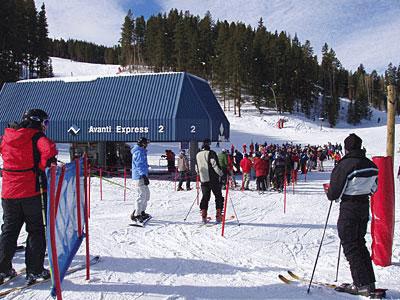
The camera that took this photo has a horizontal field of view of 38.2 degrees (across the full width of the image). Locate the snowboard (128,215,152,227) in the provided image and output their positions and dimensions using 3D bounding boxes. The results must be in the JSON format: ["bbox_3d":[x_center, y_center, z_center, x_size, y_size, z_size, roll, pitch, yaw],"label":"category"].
[{"bbox_3d":[-2.124,2.545,19.842,0.610,0.325,0.224,5,-6,5],"label":"snowboard"}]

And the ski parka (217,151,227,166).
[{"bbox_3d":[0.977,0.427,24.895,0.261,0.604,0.469,-12,13,-37],"label":"ski parka"}]

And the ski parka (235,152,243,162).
[{"bbox_3d":[2.194,0.418,32.142,0.387,0.938,0.424,0,1,27],"label":"ski parka"}]

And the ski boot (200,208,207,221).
[{"bbox_3d":[0.154,2.293,20.179,0.172,0.459,0.163,-1,2,-4],"label":"ski boot"}]

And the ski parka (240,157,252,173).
[{"bbox_3d":[2.207,0.741,27.628,0.697,0.919,0.411,7,9,44],"label":"ski parka"}]

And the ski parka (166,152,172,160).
[{"bbox_3d":[-1.655,0.393,31.667,0.292,0.487,0.240,2,20,24],"label":"ski parka"}]

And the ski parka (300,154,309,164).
[{"bbox_3d":[6.365,0.625,35.112,0.459,0.530,0.255,23,25,39],"label":"ski parka"}]

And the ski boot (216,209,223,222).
[{"bbox_3d":[0.676,2.342,20.251,0.268,0.570,0.311,0,-8,1],"label":"ski boot"}]

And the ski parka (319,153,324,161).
[{"bbox_3d":[7.677,0.509,36.484,0.216,0.500,0.546,0,2,10],"label":"ski parka"}]

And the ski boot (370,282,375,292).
[{"bbox_3d":[4.659,3.735,15.548,0.137,0.242,0.114,0,2,2],"label":"ski boot"}]

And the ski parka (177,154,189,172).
[{"bbox_3d":[-0.848,0.626,27.262,0.475,0.990,0.753,-3,2,-25],"label":"ski parka"}]

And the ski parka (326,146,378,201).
[{"bbox_3d":[4.176,0.710,15.758,1.367,1.388,0.343,-1,1,-9],"label":"ski parka"}]

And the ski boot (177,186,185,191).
[{"bbox_3d":[-0.905,1.861,27.512,0.355,0.214,0.484,-1,2,-2],"label":"ski boot"}]

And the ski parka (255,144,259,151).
[{"bbox_3d":[4.680,-0.133,47.451,0.300,0.593,0.294,3,21,11],"label":"ski parka"}]

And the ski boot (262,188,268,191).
[{"bbox_3d":[3.065,1.891,27.212,0.206,0.146,0.156,-3,-12,-16],"label":"ski boot"}]
